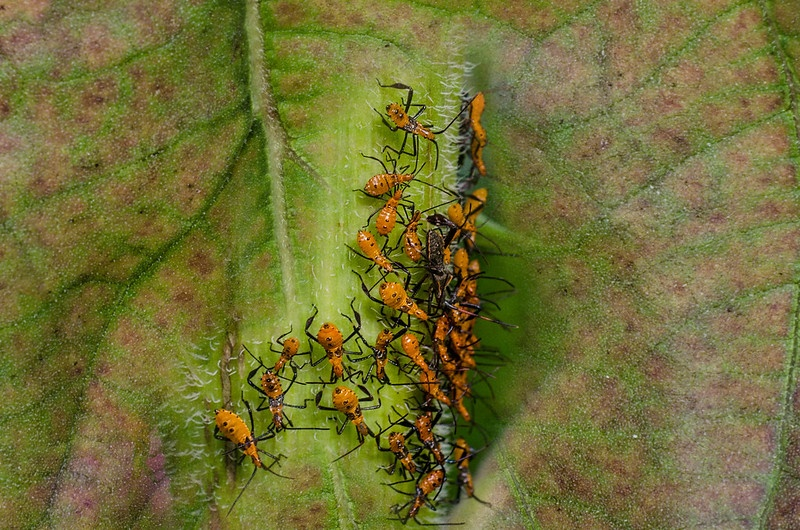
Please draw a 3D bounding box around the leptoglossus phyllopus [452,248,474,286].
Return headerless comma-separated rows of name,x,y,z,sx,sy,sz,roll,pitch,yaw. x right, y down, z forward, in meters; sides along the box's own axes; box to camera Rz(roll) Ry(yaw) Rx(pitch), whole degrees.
leptoglossus phyllopus,0.634,-0.008,8.387,0.095,0.301,0.203,-7,4,34
